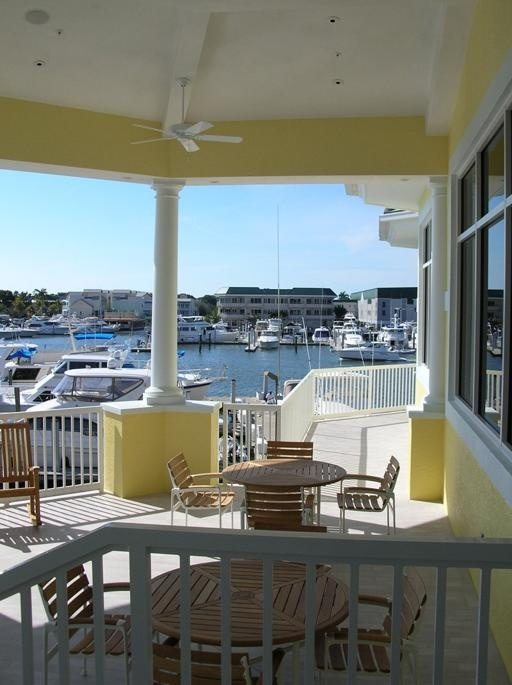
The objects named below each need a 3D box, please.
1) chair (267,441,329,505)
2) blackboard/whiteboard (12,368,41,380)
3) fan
[{"bbox_3d":[0.405,1.271,5.474,0.416,0.654,0.456,2,11,1],"label":"chair"},{"bbox_3d":[-9.976,1.354,23.880,0.803,0.325,0.559,0,9,-8],"label":"blackboard/whiteboard"},{"bbox_3d":[-0.648,-2.160,5.580,0.956,0.548,0.892,11,26,24],"label":"fan"}]
